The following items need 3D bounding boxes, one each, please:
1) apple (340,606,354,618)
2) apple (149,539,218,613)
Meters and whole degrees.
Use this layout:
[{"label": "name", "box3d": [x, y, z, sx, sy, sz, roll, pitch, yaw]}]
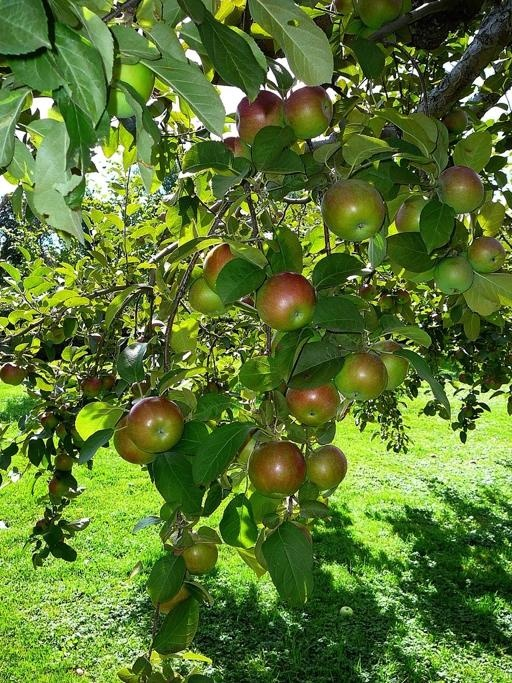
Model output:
[{"label": "apple", "box3d": [0.864, 2.579, 4.957, 0.123, 0.057, 0.141, 4, 7, 33]}, {"label": "apple", "box3d": [-0.175, 0.495, 1.101, 0.127, 0.184, 0.085, 26, 31, -25]}]
